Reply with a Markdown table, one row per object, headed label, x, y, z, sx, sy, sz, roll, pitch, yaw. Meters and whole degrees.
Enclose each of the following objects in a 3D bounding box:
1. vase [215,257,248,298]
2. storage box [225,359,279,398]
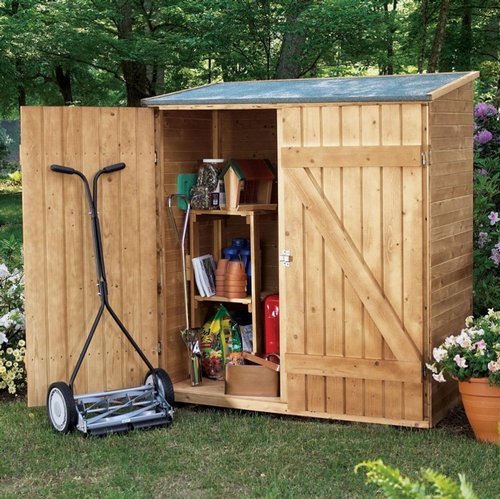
| label | x | y | z | sx | sy | sz | roll | pitch | yaw |
| --- | --- | --- | --- | --- | --- | --- | --- | --- | --- |
| vase | -0.142 | 0.226 | 5.482 | 0.287 | 0.281 | 0.266 | 0 | -1 | 20 |
| storage box | 0.033 | 0.911 | 5.069 | 0.309 | 0.130 | 0.218 | 1 | 0 | 20 |
